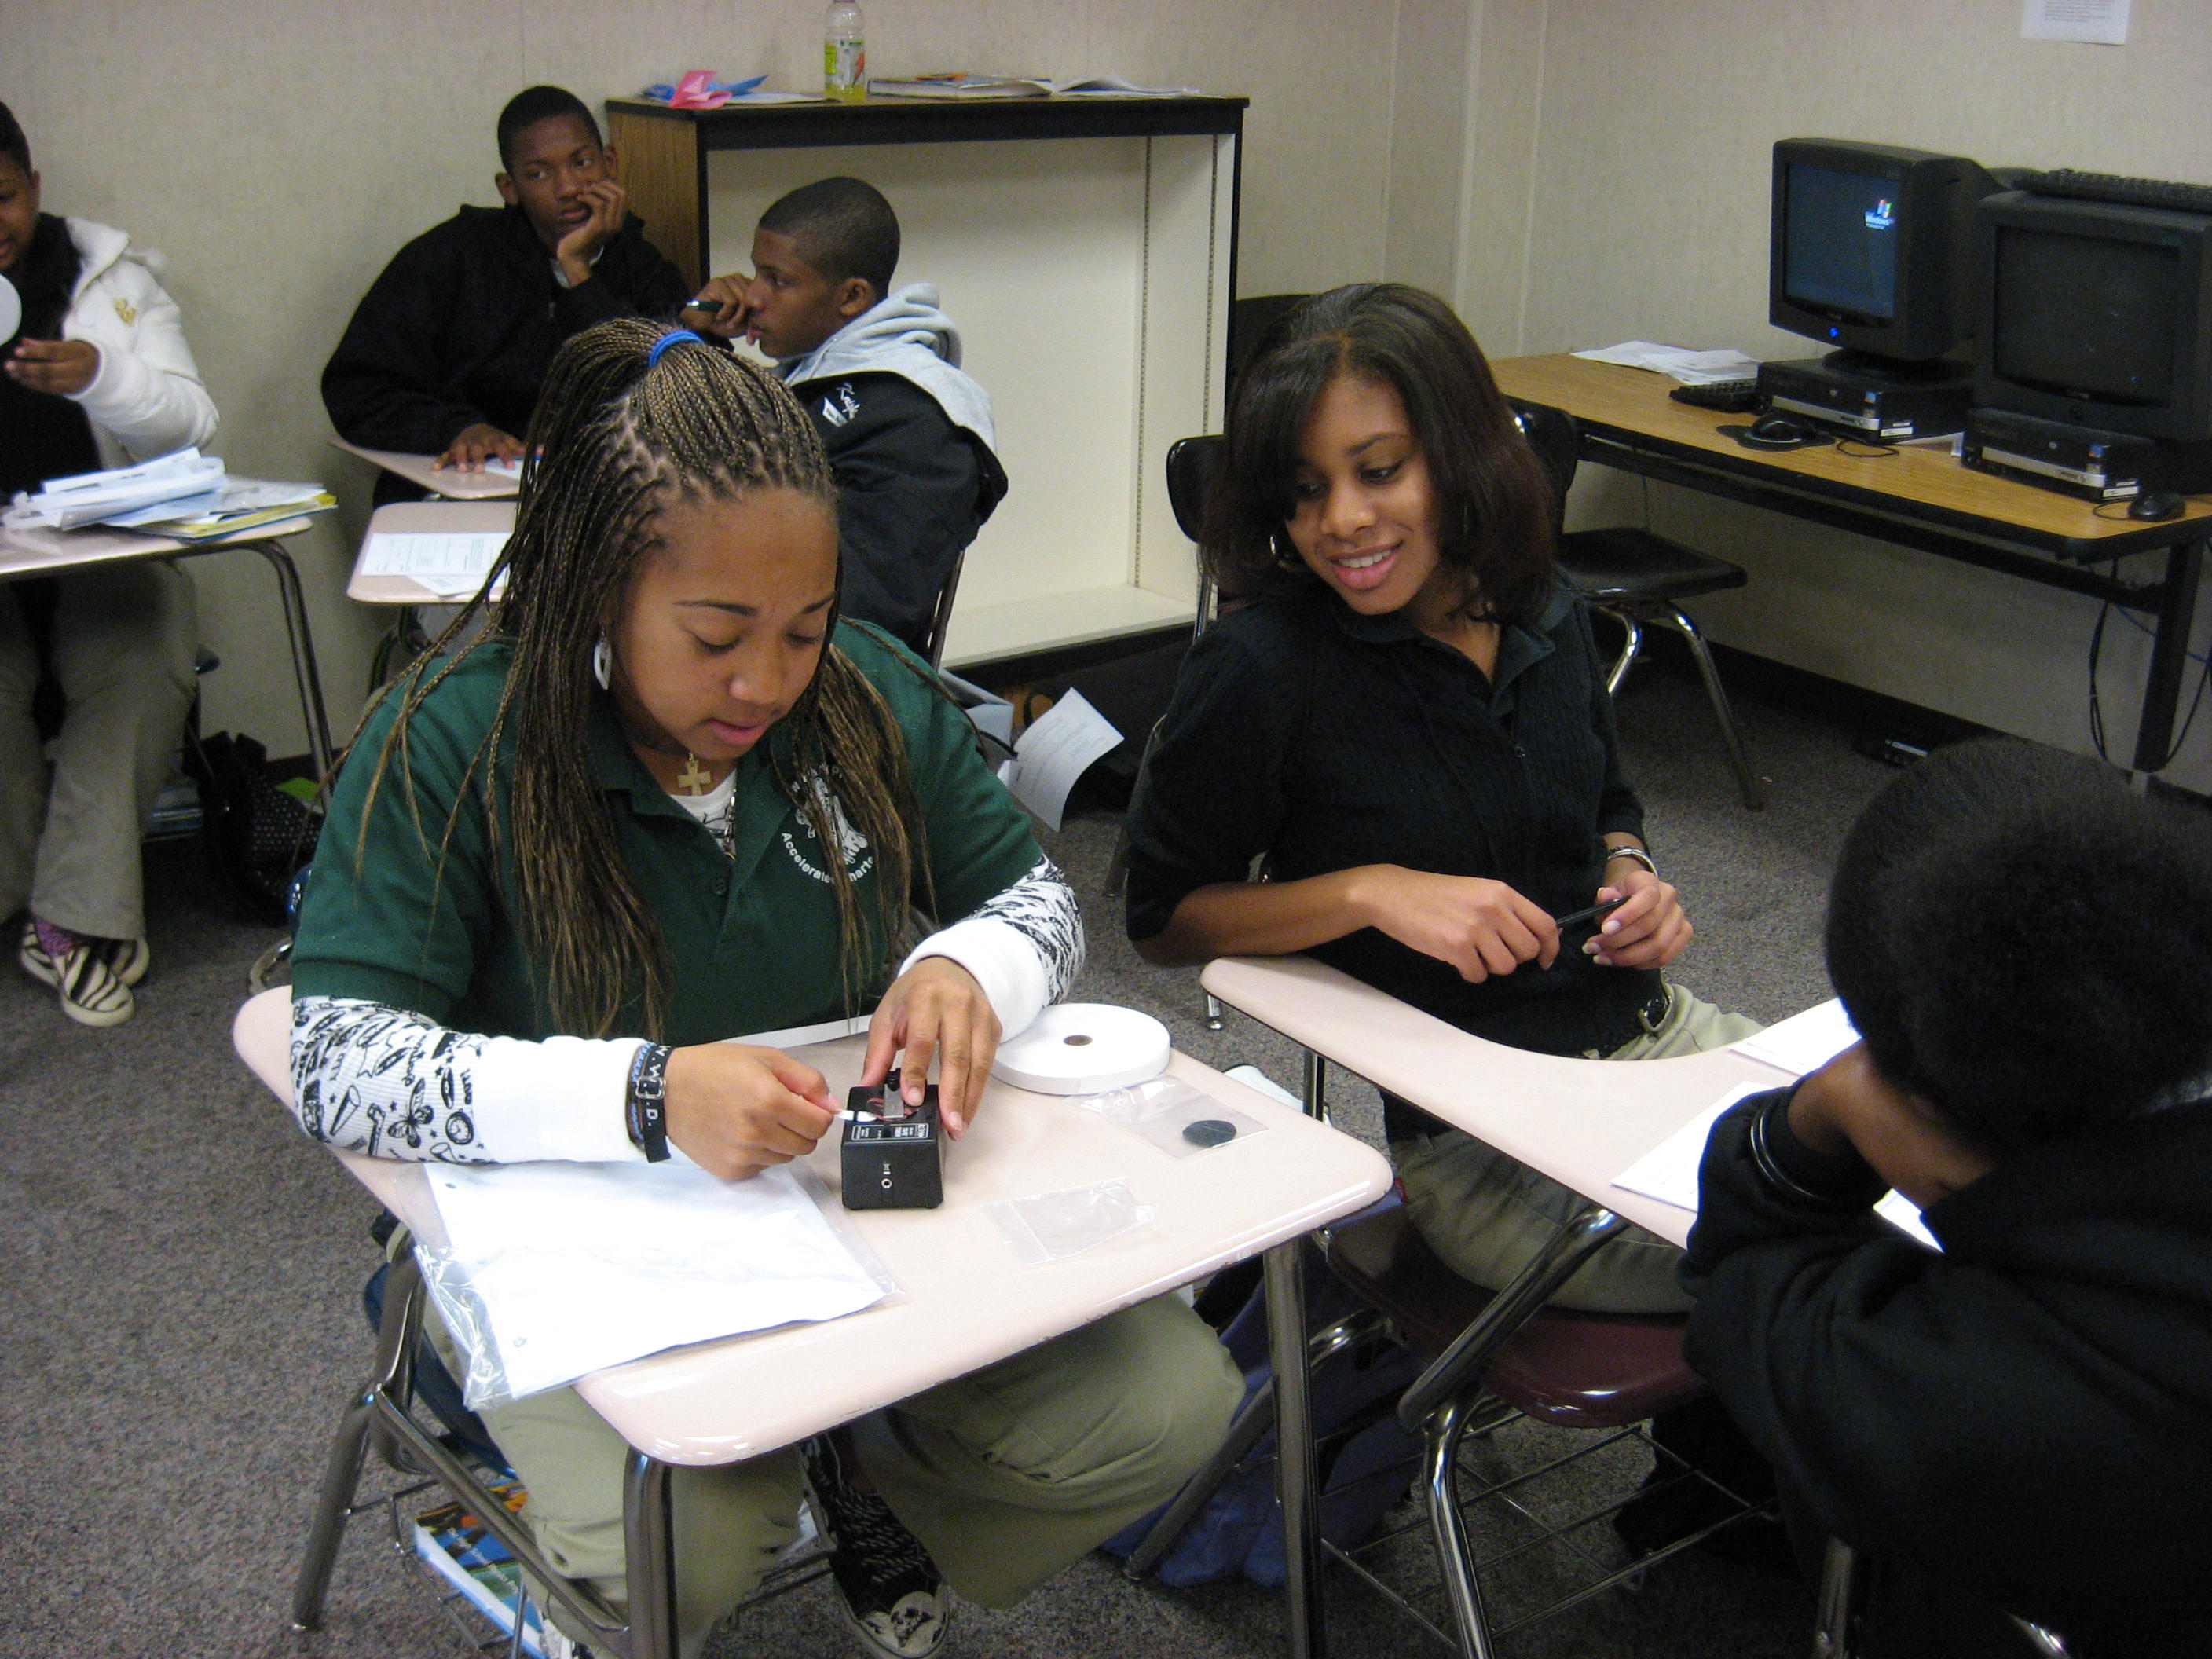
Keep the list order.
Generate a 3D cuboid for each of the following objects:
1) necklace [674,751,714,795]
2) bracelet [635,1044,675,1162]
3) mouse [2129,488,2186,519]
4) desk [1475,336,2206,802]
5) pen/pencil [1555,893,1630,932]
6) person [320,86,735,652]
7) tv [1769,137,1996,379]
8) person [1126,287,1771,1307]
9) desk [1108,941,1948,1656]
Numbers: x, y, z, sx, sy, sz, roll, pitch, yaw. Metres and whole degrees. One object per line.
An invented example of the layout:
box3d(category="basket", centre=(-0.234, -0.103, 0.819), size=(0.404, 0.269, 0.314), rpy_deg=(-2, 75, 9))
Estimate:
box3d(category="necklace", centre=(-0.384, -0.055, 1.528), size=(0.032, 0.047, 0.005), rpy_deg=(-12, 25, -11))
box3d(category="bracelet", centre=(-0.374, 0.222, 1.354), size=(0.035, 0.086, 0.054), rpy_deg=(-3, 18, -12))
box3d(category="mouse", centre=(2.148, -0.670, 3.379), size=(0.115, 0.038, 0.085), rpy_deg=(-27, 38, -37))
box3d(category="desk", centre=(1.658, -0.587, 3.604), size=(0.404, 0.341, 1.401), rpy_deg=(-23, 40, -26))
box3d(category="pen/pencil", centre=(0.552, 0.092, 1.880), size=(0.081, 0.025, 0.018), rpy_deg=(-10, -8, -39))
box3d(category="person", centre=(-1.461, -1.174, 4.071), size=(0.915, 1.191, 0.692), rpy_deg=(7, 12, -6))
box3d(category="tv", centre=(1.945, -1.443, 4.069), size=(0.425, 0.499, 0.563), rpy_deg=(-18, 29, -13))
box3d(category="person", centre=(0.453, -0.080, 1.932), size=(0.814, 1.091, 0.657), rpy_deg=(-1, 23, 27))
box3d(category="desk", centre=(0.388, 0.319, 1.721), size=(0.670, 0.520, 0.533), rpy_deg=(-18, 35, -30))
